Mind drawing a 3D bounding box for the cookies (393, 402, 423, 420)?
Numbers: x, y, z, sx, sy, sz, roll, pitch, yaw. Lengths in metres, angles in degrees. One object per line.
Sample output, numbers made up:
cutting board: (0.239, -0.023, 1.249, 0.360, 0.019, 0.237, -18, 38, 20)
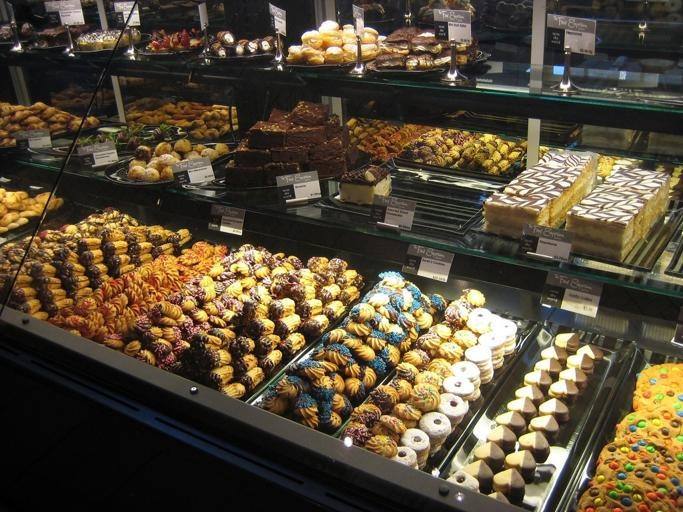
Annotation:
cookies: (0.247, 0.587, 1.997, 0.079, 0.019, 0.061, 5, 18, 3)

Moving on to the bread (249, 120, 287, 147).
bread: (-0.361, -0.573, 2.566, 0.211, 0.077, 0.123, 1, 36, -1)

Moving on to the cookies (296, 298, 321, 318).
cookies: (-0.150, 0.244, 2.465, 0.085, 0.047, 0.102, 2, 15, 28)

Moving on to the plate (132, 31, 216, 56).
plate: (-0.843, -1.072, 2.642, 0.255, 0.059, 0.235, 11, 25, 30)

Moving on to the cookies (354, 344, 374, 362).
cookies: (0.098, 0.406, 2.213, 0.081, 0.022, 0.068, 33, 52, 12)

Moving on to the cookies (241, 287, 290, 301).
cookies: (-0.367, 0.181, 2.539, 0.120, 0.035, 0.102, 0, 4, -36)

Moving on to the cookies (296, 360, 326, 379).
cookies: (-0.111, 0.448, 2.092, 0.083, 0.025, 0.082, -10, 24, -39)

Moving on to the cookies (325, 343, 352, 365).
cookies: (-0.010, 0.406, 2.166, 0.095, 0.052, 0.089, 33, 17, 7)

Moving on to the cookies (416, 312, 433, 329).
cookies: (0.372, 0.292, 2.413, 0.090, 0.054, 0.078, -4, 25, -8)

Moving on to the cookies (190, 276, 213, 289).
cookies: (-0.702, 0.129, 2.654, 0.086, 0.019, 0.068, -1, 20, 2)

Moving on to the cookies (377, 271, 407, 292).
cookies: (0.239, 0.115, 2.486, 0.115, 0.029, 0.103, 12, 29, 24)

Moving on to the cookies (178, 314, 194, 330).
cookies: (-0.723, 0.308, 2.465, 0.070, 0.019, 0.064, -20, 47, -34)

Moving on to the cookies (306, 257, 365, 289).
cookies: (-0.037, 0.076, 2.614, 0.222, 0.054, 0.195, 13, 17, 15)

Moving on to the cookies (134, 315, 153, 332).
cookies: (-0.913, 0.305, 2.411, 0.071, 0.026, 0.066, -14, 44, -22)

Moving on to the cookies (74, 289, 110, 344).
cookies: (-1.159, 0.292, 2.533, 0.164, 0.087, 0.203, -28, 41, 16)

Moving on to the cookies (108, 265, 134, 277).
cookies: (-1.157, 0.075, 2.779, 0.083, 0.023, 0.076, -6, 1, 30)

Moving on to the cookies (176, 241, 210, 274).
cookies: (-0.795, 0.007, 2.871, 0.160, 0.061, 0.178, -12, 23, -12)

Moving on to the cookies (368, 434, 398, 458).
cookies: (0.147, 0.664, 1.843, 0.081, 0.021, 0.077, -2, 15, -34)

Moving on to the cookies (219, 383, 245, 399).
cookies: (-0.447, 0.558, 2.169, 0.100, 0.036, 0.049, 6, 58, -33)

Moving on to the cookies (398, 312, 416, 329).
cookies: (0.286, 0.282, 2.352, 0.079, 0.028, 0.075, -17, 37, -32)

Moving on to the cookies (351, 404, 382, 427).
cookies: (0.096, 0.597, 1.982, 0.087, 0.031, 0.081, 1, 13, 1)

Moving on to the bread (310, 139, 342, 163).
bread: (-0.065, -0.504, 2.511, 0.127, 0.072, 0.123, -10, 12, -38)

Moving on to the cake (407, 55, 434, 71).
cake: (0.303, -0.762, 2.067, 0.101, 0.058, 0.040, -1, 7, -8)

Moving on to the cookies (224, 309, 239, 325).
cookies: (-0.517, 0.284, 2.486, 0.080, 0.024, 0.063, 19, 57, 16)

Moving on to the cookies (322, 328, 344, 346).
cookies: (-0.031, 0.338, 2.247, 0.090, 0.027, 0.074, -16, 9, -8)

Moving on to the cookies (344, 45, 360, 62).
cookies: (0.044, -0.870, 2.252, 0.071, 0.067, 0.029, 5, -2, 21)

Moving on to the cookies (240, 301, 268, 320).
cookies: (-0.401, 0.248, 2.414, 0.107, 0.042, 0.103, 13, 15, 19)

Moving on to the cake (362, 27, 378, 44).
cake: (0.127, -0.966, 2.309, 0.093, 0.068, 0.032, 1, -3, -17)

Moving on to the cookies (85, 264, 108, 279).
cookies: (-1.261, 0.073, 2.704, 0.058, 0.037, 0.092, -2, 5, 16)

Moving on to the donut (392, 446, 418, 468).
donut: (0.229, 0.707, 1.851, 0.112, 0.027, 0.092, -5, 27, -7)

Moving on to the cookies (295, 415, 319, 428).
cookies: (-0.126, 0.623, 1.983, 0.081, 0.020, 0.076, -1, 17, -17)

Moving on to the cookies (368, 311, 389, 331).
cookies: (0.167, 0.289, 2.291, 0.087, 0.037, 0.084, -7, 44, -23)

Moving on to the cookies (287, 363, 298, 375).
cookies: (-0.197, 0.459, 2.133, 0.022, 0.038, 0.050, 29, 7, -13)

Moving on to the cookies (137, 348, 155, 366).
cookies: (-0.873, 0.448, 2.332, 0.077, 0.028, 0.070, 34, 41, 21)

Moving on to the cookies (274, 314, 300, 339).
cookies: (-0.252, 0.314, 2.407, 0.079, 0.045, 0.114, 1, 7, 17)

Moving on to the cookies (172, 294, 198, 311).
cookies: (-0.749, 0.216, 2.521, 0.094, 0.032, 0.075, 23, 23, 28)

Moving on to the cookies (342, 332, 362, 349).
cookies: (0.046, 0.363, 2.226, 0.074, 0.026, 0.072, -13, 32, -31)

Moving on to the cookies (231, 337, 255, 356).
cookies: (-0.434, 0.395, 2.299, 0.082, 0.059, 0.090, 10, 5, 1)

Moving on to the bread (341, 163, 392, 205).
bread: (0.104, -0.314, 2.401, 0.220, 0.127, 0.243, 9, 27, 24)

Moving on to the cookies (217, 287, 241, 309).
cookies: (-0.542, 0.199, 2.553, 0.106, 0.039, 0.101, -8, 27, -5)

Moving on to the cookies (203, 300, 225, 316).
cookies: (-0.609, 0.247, 2.515, 0.089, 0.032, 0.070, 9, 17, 17)

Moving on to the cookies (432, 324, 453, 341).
cookies: (0.448, 0.333, 2.313, 0.080, 0.021, 0.069, -9, 32, -16)

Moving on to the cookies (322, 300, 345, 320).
cookies: (-0.043, 0.265, 2.526, 0.093, 0.041, 0.096, 32, 46, 28)

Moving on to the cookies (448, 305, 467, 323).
cookies: (0.520, 0.261, 2.358, 0.085, 0.024, 0.077, 4, 33, 9)

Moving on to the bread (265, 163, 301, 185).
bread: (-0.270, -0.408, 2.626, 0.231, 0.090, 0.132, -1, -7, 8)

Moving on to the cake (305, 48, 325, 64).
cake: (-0.119, -0.857, 2.253, 0.078, 0.029, 0.082, 14, 31, 7)

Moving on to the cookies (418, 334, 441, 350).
cookies: (0.379, 0.370, 2.271, 0.079, 0.030, 0.069, -1, 13, 1)

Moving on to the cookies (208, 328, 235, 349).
cookies: (-0.543, 0.366, 2.394, 0.106, 0.027, 0.093, -7, 32, -21)

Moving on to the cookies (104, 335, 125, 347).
cookies: (-1.038, 0.387, 2.398, 0.068, 0.022, 0.065, 6, 18, -28)
